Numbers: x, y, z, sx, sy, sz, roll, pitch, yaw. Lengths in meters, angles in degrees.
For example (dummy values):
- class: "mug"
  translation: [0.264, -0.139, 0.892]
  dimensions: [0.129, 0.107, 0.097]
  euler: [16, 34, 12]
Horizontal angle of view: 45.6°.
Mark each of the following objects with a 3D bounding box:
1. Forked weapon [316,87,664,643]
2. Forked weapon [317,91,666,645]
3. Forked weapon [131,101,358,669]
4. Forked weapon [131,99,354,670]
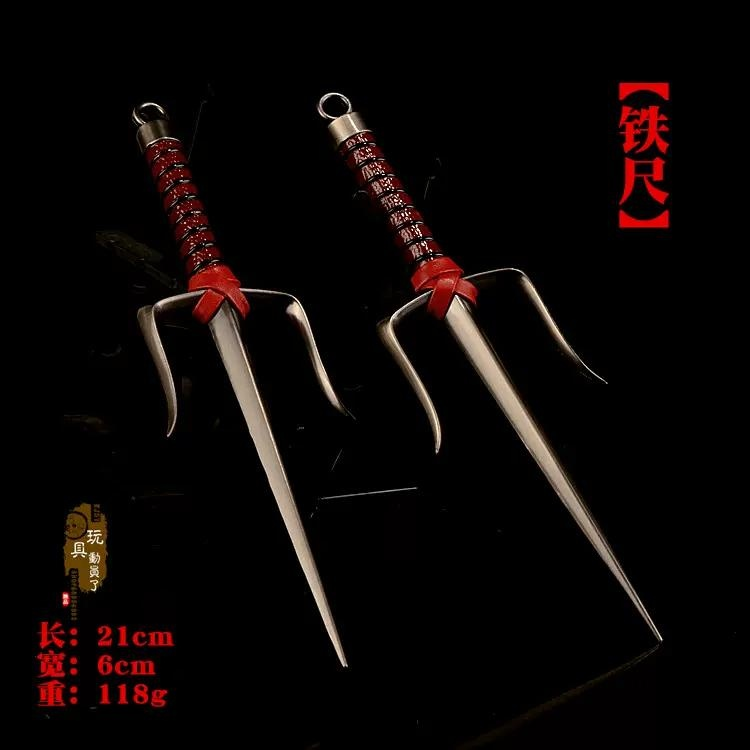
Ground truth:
- class: "Forked weapon"
  translation: [0.073, -0.091, 1.239]
  dimensions: [0.216, 1.076, 0.111]
  euler: [-23, -11, -6]
- class: "Forked weapon"
  translation: [0.104, -0.062, 1.245]
  dimensions: [0.230, 0.989, 0.081]
  euler: [-24, -10, -7]
- class: "Forked weapon"
  translation: [-0.171, 0.078, 1.111]
  dimensions: [0.191, 0.766, 0.087]
  euler: [-13, -9, -13]
- class: "Forked weapon"
  translation: [-0.172, 0.075, 1.112]
  dimensions: [0.191, 0.766, 0.090]
  euler: [-13, -8, -13]
